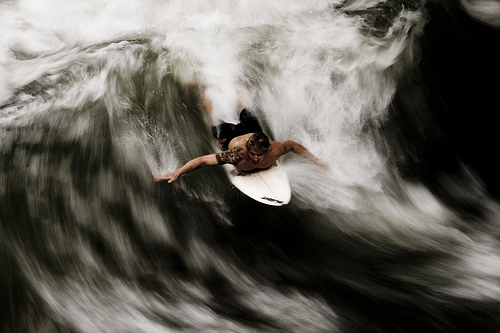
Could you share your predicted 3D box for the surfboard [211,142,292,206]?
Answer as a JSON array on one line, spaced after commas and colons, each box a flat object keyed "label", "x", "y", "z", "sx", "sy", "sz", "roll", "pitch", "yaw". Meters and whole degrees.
[{"label": "surfboard", "x": 0.111, "y": 0.225, "z": 7.551, "sx": 0.768, "sy": 0.251, "sz": 0.611, "roll": -3, "pitch": 73, "yaw": 0}]

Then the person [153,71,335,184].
[{"label": "person", "x": -0.197, "y": -0.329, "z": 7.982, "sx": 1.726, "sy": 0.598, "sz": 1.272, "roll": -12, "pitch": 55, "yaw": -13}]
